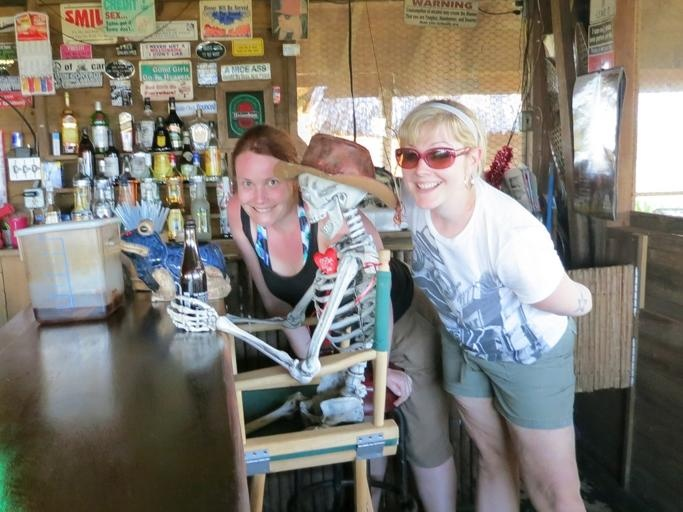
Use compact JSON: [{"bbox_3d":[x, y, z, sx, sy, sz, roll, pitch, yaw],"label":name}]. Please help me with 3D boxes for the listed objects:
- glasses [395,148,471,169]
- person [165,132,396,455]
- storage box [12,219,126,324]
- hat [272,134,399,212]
[{"bbox_3d":[0.278,-0.303,1.673,0.224,0.071,0.086,-2,11,9],"label":"glasses"},{"bbox_3d":[-0.147,0.097,1.741,0.661,0.908,0.521,4,13,34],"label":"person"},{"bbox_3d":[-0.968,0.041,1.956,0.327,0.340,0.332,-9,9,-38],"label":"storage box"},{"bbox_3d":[-0.015,-0.245,1.651,0.372,0.248,0.222,-3,11,4],"label":"hat"}]
